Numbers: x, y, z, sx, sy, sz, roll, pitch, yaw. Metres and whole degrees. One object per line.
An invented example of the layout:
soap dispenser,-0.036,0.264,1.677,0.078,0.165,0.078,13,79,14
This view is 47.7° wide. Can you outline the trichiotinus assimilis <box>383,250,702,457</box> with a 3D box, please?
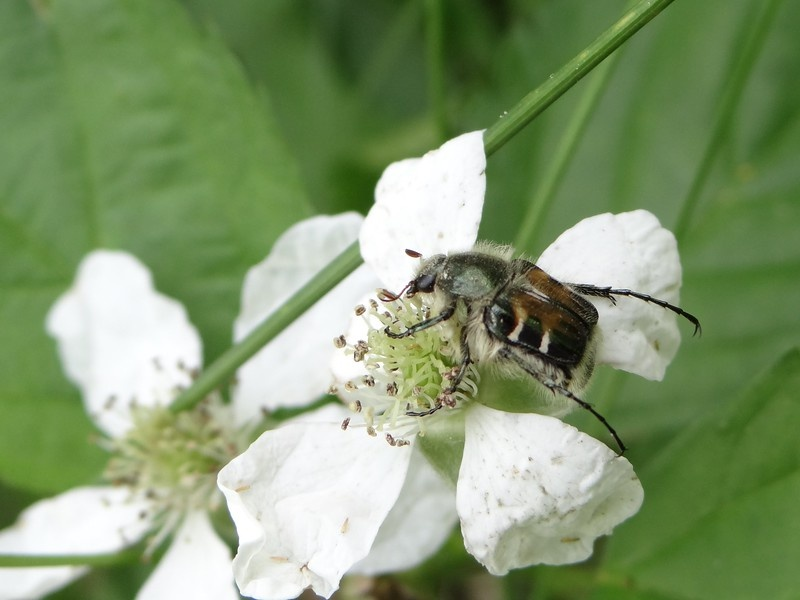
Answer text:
trichiotinus assimilis,0.146,0.018,1.191,0.291,0.107,0.309,20,54,20
